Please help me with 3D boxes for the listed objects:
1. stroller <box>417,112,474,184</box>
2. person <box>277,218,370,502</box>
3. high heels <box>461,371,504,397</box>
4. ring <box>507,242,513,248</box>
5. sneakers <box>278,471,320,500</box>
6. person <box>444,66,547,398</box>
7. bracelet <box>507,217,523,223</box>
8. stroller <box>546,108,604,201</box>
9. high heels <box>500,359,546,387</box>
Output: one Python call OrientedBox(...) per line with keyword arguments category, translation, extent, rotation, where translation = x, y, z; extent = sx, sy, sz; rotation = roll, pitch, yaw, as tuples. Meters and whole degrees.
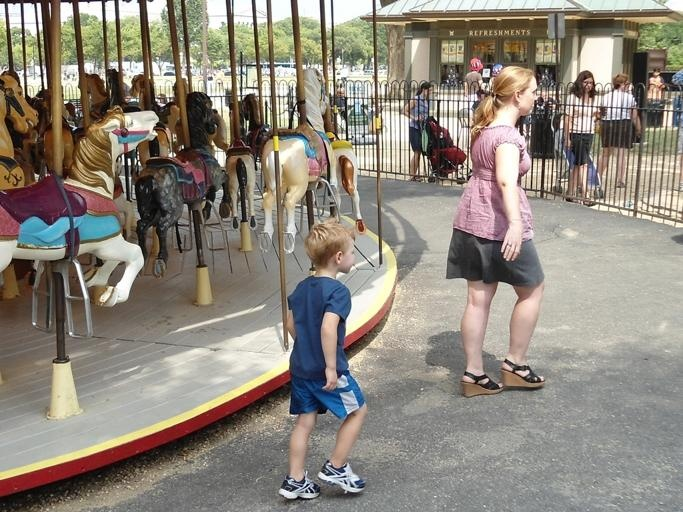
OrientedBox(category="stroller", translation=(2.557, -2.823, 14.446), extent=(1.306, 1.982, 1.250), rotation=(4, 28, 8))
OrientedBox(category="person", translation=(-0.129, 0.649, 3.410), extent=(0.517, 1.618, 0.381), rotation=(-3, 14, -7))
OrientedBox(category="high heels", translation=(1.117, 0.988, 4.683), extent=(0.317, 0.193, 0.159), rotation=(-2, 4, -12))
OrientedBox(category="ring", translation=(1.165, -0.079, 4.112), extent=(0.028, 0.030, 0.009), rotation=(-6, -12, 24))
OrientedBox(category="sneakers", translation=(-0.241, 1.365, 3.538), extent=(0.288, 0.171, 0.114), rotation=(8, -3, -39))
OrientedBox(category="person", translation=(1.218, -0.145, 4.517), extent=(0.660, 2.468, 0.624), rotation=(-14, 19, -41))
OrientedBox(category="bracelet", translation=(1.203, -0.245, 4.107), extent=(0.098, 0.049, 0.066), rotation=(-3, 15, -3))
OrientedBox(category="stroller", translation=(4.736, -2.058, 12.029), extent=(0.966, 1.614, 1.697), rotation=(3, 16, 19))
OrientedBox(category="high heels", translation=(1.443, 0.937, 4.786), extent=(0.335, 0.212, 0.179), rotation=(1, 1, 0))
